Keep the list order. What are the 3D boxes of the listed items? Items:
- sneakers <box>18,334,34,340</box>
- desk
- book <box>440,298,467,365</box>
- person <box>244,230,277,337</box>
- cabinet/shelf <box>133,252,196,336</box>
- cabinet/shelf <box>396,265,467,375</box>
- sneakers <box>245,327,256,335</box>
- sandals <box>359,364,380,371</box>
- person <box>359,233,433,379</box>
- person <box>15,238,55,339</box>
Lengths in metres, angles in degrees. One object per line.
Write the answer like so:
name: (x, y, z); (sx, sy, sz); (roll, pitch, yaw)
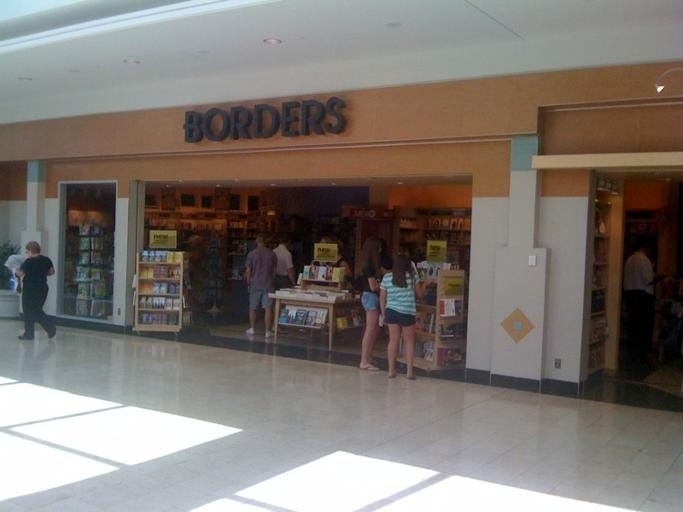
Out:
sneakers: (-6.004, 1.512, 10.507); (0.300, 0.098, 0.126); (2, 3, 17)
desk: (-0.533, 1.073, 10.783); (1.306, 0.800, 1.007); (3, 2, 19)
book: (1.741, 1.178, 8.738); (0.540, 1.120, 0.158); (0, 2, -30)
person: (-1.655, 0.562, 11.435); (0.622, 2.040, 0.928); (0, 2, -38)
cabinet/shelf: (-3.656, 0.681, 11.163); (1.002, 1.620, 0.267); (2, 2, 7)
cabinet/shelf: (1.589, 0.987, 9.176); (0.988, 1.736, 0.989); (5, -5, -16)
sneakers: (-1.894, 1.535, 11.485); (0.094, 0.102, 0.247); (0, 4, -18)
sandals: (0.438, 1.743, 8.821); (0.206, 0.073, 0.124); (-3, -3, 19)
person: (0.812, 0.790, 8.601); (0.925, 2.075, 0.902); (2, 2, -2)
person: (-5.891, 0.629, 10.692); (0.609, 1.836, 0.668); (1, 2, -29)
